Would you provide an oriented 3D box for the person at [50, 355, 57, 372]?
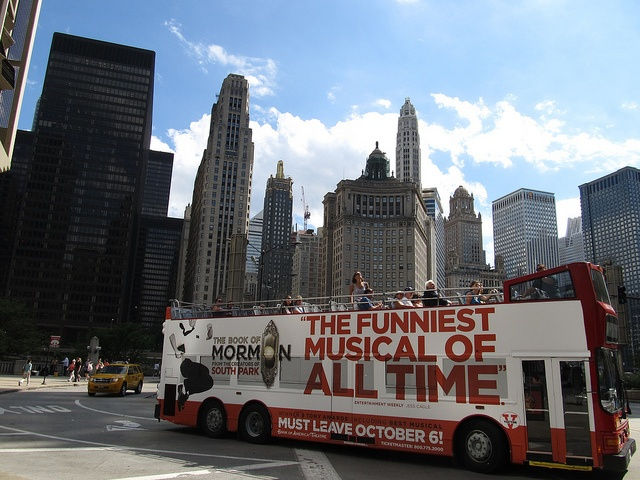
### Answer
[{"bbox_3d":[-26.835,12.791,49.499,0.650,1.511,2.447,8,-13,-27],"label":"person"}]

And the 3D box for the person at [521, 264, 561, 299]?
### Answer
[{"bbox_3d":[5.798,1.027,12.725,0.519,0.961,0.818,-7,2,-36],"label":"person"}]

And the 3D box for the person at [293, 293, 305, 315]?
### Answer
[{"bbox_3d":[-0.649,2.048,15.577,0.541,0.772,0.380,3,-13,-11],"label":"person"}]

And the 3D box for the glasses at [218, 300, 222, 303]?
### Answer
[{"bbox_3d":[-3.525,2.164,17.335,0.113,0.056,0.160,1,-2,3],"label":"glasses"}]

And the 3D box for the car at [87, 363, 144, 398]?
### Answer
[{"bbox_3d":[-12.600,8.718,30.470,1.640,1.890,4.279,1,-12,3],"label":"car"}]
